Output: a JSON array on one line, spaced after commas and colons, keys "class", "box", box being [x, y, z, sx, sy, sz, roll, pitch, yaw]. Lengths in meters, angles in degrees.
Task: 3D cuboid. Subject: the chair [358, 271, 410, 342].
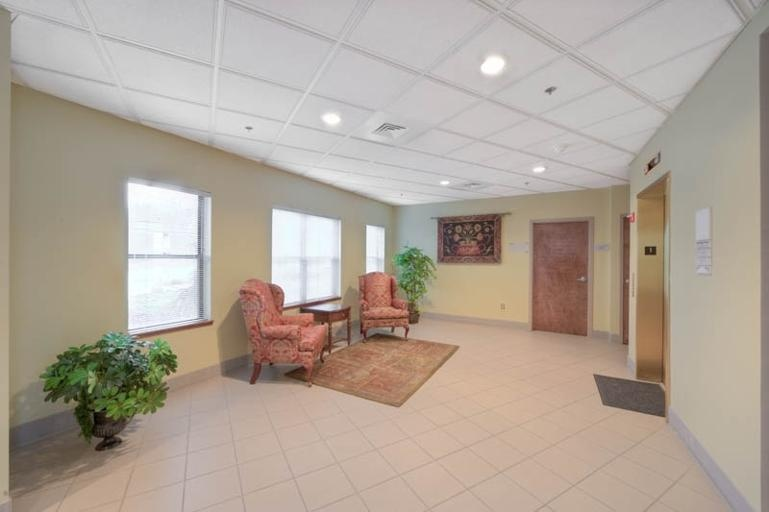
[{"class": "chair", "box": [-0.034, 0.840, 7.424, 0.869, 1.048, 0.925, 1, 3, -5]}]

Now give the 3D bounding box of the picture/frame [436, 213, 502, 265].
[{"class": "picture/frame", "box": [1.713, -0.344, 8.426, 1.058, 0.756, 0.035, 2, 2, 35]}]

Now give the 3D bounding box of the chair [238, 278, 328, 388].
[{"class": "chair", "box": [-1.328, 0.934, 5.598, 0.963, 1.207, 1.006, 1, 9, -1]}]

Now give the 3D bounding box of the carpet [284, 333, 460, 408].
[{"class": "carpet", "box": [-0.019, 1.496, 6.125, 1.606, 0.015, 2.364, 5, 7, 26]}]

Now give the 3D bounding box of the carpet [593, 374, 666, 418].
[{"class": "carpet", "box": [2.924, 1.655, 5.085, 0.797, 0.828, 0.006, -10, 40, 45]}]

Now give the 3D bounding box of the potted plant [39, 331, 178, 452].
[{"class": "potted plant", "box": [-2.595, 1.170, 4.311, 1.154, 0.978, 1.142, 6, 7, 13]}]
